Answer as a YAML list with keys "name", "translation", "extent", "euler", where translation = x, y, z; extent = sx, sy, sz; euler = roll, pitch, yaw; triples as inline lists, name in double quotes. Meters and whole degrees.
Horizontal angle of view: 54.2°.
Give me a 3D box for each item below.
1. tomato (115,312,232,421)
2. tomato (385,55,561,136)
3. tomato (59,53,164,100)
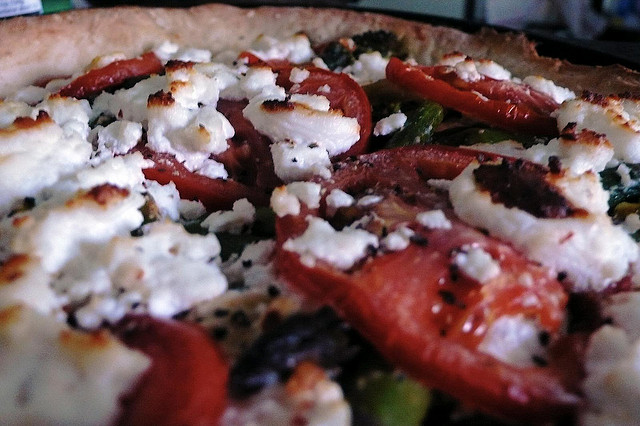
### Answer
- name: "tomato"
  translation: [-0.334, 0.352, 1.424]
  extent: [0.259, 0.108, 0.238]
  euler: [-5, 46, -3]
- name: "tomato"
  translation: [0.481, -0.369, 1.968]
  extent: [0.437, 0.099, 0.263]
  euler: [18, 18, 1]
- name: "tomato"
  translation: [-0.674, -0.436, 2.046]
  extent: [0.283, 0.160, 0.071]
  euler: [-33, 94, -40]
